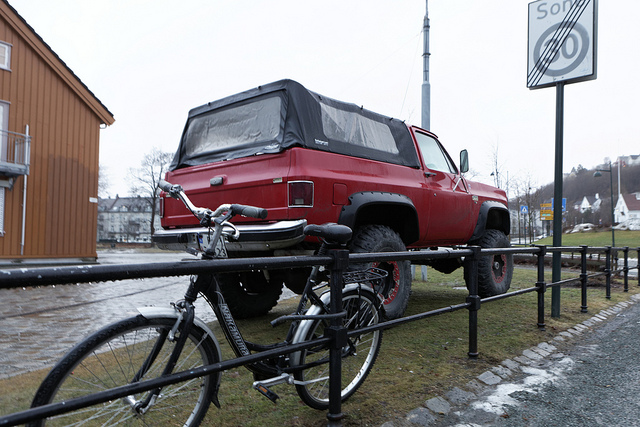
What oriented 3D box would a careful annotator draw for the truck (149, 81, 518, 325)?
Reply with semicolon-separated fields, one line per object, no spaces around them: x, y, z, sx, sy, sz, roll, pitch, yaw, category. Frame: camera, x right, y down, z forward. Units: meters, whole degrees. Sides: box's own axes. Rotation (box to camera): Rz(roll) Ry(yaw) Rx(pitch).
0.469;-0.344;6.940;5.122;2.507;3.044;-1;-2;-44;truck

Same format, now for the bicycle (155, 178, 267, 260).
-0.947;0.102;3.803;1.224;0.521;0.239;10;6;32;bicycle

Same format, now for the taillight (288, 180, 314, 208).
-0.211;-0.208;5.195;0.346;0.344;0.267;1;1;-3;taillight
